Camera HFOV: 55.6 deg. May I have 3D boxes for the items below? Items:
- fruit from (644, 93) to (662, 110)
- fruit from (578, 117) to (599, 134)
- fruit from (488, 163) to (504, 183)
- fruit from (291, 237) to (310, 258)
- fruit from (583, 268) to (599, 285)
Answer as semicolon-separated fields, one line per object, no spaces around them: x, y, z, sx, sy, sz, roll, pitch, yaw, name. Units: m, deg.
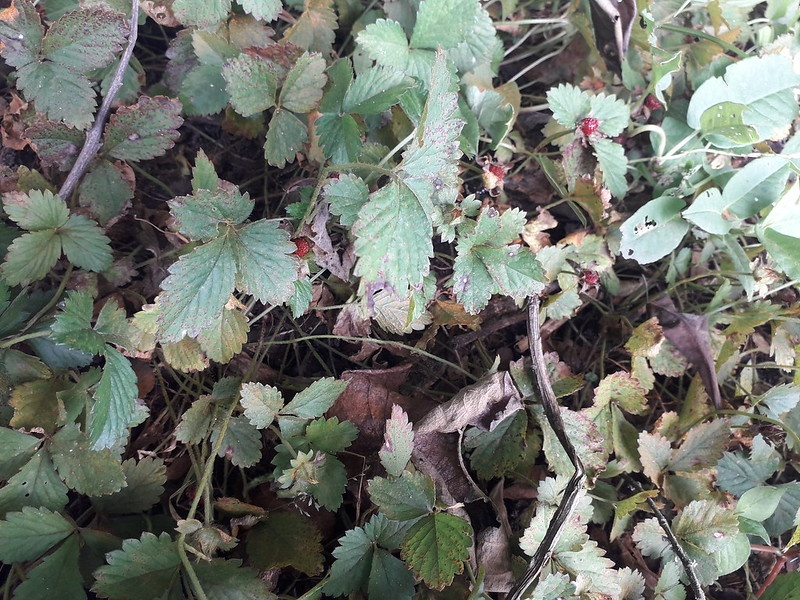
0.772;-0.606;2.331;0.046;0.019;0.040;53;-18;-19;fruit
0.525;-0.485;2.131;0.041;0.048;0.045;0;1;21;fruit
0.273;-0.367;2.208;0.045;0.020;0.037;51;33;10;fruit
-0.255;-0.141;1.974;0.043;0.050;0.040;32;26;34;fruit
0.537;-0.062;2.142;0.033;0.028;0.042;-2;6;13;fruit
